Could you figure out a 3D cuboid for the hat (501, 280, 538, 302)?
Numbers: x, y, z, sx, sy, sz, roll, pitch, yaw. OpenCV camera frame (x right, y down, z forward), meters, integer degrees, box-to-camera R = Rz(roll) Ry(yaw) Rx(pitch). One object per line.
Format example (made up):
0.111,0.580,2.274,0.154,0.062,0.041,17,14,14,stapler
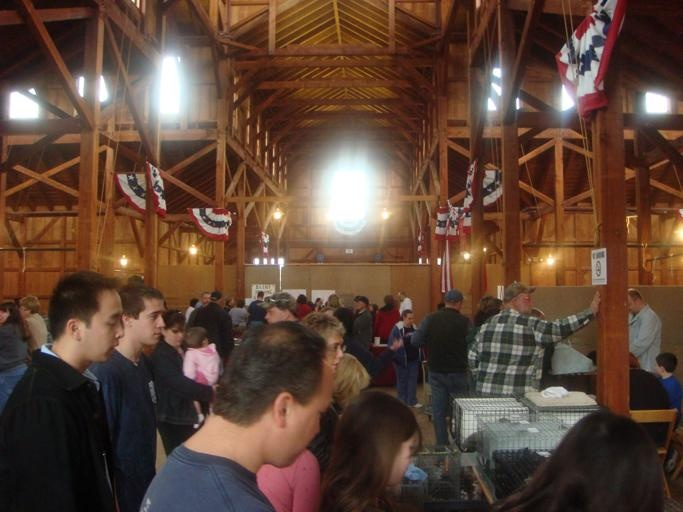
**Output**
2.124,0.435,8.225,0.316,0.204,0.230,-27,-1,5,hat

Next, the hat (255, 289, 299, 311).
-0.743,0.544,8.374,0.348,0.219,0.265,15,-21,-12,hat

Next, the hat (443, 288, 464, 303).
1.553,0.537,9.303,0.160,0.145,0.224,5,7,41,hat
